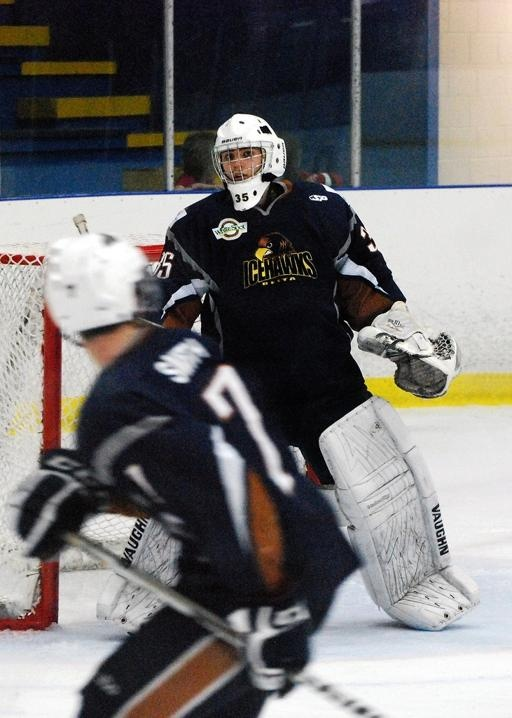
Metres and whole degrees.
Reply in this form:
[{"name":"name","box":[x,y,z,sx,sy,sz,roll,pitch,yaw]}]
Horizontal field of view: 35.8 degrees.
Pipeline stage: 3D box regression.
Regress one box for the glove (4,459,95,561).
[{"name":"glove","box":[-0.292,0.215,1.140,0.098,0.153,0.062,40,-18,2]}]

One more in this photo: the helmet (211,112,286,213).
[{"name":"helmet","box":[-0.015,-0.595,2.384,0.239,0.234,0.230,-7,9,2]}]
